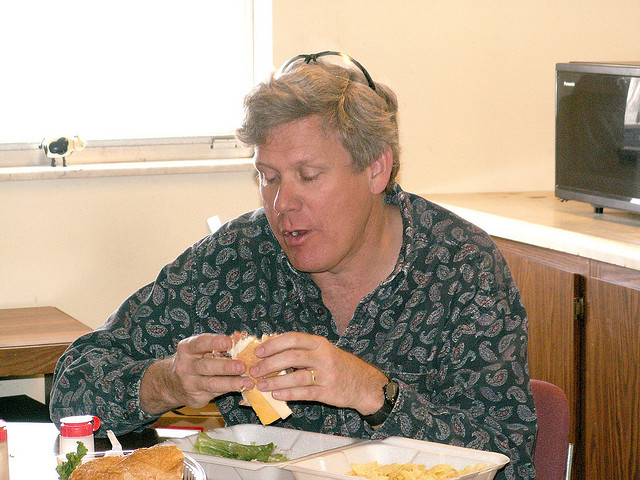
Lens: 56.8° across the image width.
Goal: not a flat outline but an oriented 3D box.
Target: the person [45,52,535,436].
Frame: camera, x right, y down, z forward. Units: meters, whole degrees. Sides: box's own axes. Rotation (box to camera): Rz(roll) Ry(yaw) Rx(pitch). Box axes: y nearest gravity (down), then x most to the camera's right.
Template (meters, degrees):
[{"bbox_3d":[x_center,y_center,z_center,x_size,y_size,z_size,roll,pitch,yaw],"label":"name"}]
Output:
[{"bbox_3d":[-0.079,0.015,1.368,0.952,0.926,0.555,-11,-11,23],"label":"person"}]

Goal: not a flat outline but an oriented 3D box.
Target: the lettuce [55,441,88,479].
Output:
[{"bbox_3d":[-0.403,0.359,0.983,0.021,0.034,0.065,-4,38,52],"label":"lettuce"}]

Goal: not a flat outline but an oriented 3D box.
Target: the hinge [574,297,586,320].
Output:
[{"bbox_3d":[0.923,0.243,2.106,0.065,0.067,0.017,2,3,36],"label":"hinge"}]
